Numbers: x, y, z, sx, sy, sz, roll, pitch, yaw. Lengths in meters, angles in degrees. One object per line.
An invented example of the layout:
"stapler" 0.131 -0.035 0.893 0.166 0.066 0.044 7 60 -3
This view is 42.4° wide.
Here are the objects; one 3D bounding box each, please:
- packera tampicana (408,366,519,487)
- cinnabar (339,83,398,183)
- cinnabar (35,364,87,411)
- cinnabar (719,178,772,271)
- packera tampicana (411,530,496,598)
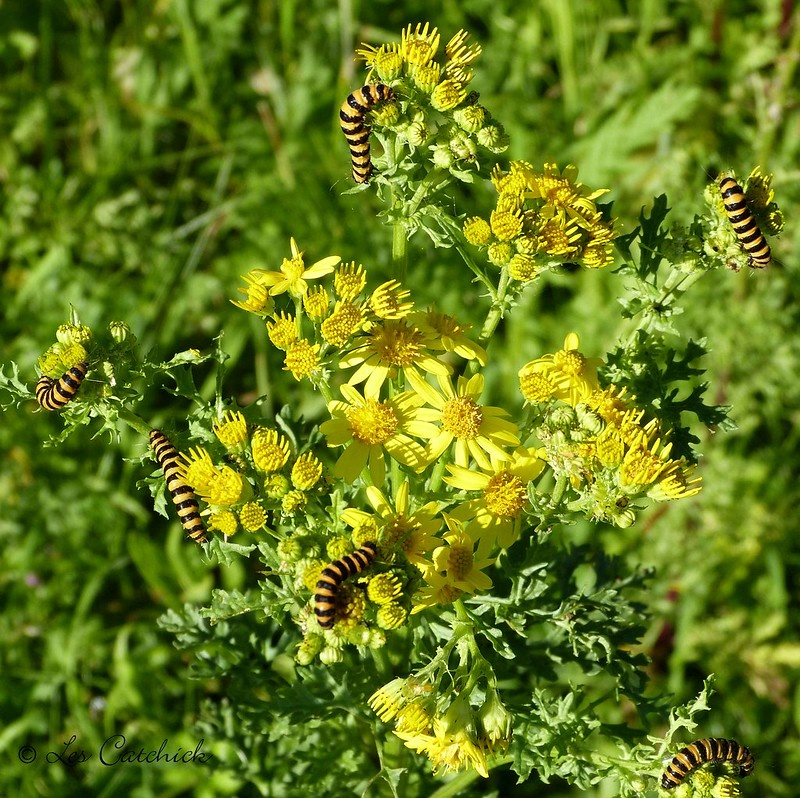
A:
"packera tampicana" 0.217 0.095 3.858 0.377 0.369 0.152 -37 7 -37
"cinnabar" -0.071 -0.955 3.709 0.157 0.436 0.115 -11 31 -21
"cinnabar" -1.062 -0.025 3.632 0.187 0.145 0.081 -39 -47 24
"cinnabar" 1.263 -0.621 3.765 0.118 0.435 0.141 -33 28 -25
"packera tampicana" 0.225 0.569 3.627 0.098 0.263 0.283 -7 12 46
